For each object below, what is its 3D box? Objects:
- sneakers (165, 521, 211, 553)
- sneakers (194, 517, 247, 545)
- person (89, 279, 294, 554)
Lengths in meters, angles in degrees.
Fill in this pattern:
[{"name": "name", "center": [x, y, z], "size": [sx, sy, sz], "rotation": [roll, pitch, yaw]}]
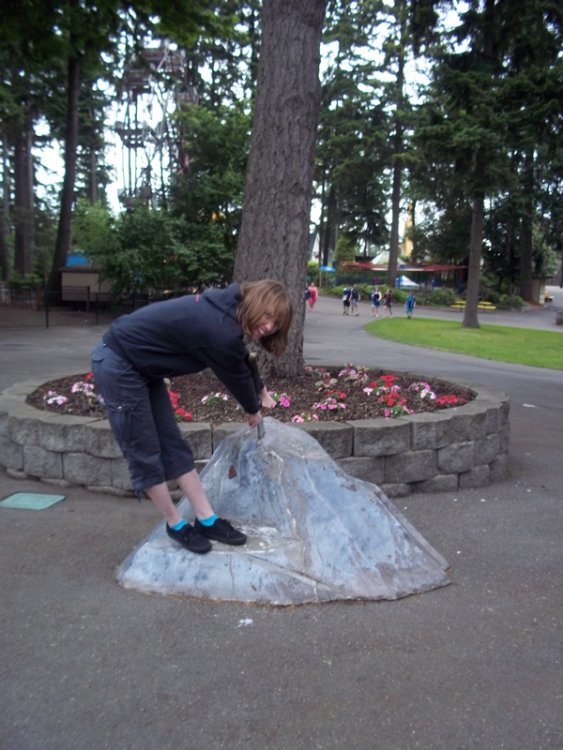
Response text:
[{"name": "sneakers", "center": [-0.470, 0.805, 3.121], "size": [0.260, 0.097, 0.100], "rotation": [20, 29, 35]}, {"name": "sneakers", "center": [-0.308, 0.816, 3.143], "size": [0.292, 0.118, 0.116], "rotation": [19, 15, -11]}, {"name": "person", "center": [-0.266, -0.005, 3.622], "size": [1.397, 1.753, 0.919], "rotation": [1, 13, -8]}]
